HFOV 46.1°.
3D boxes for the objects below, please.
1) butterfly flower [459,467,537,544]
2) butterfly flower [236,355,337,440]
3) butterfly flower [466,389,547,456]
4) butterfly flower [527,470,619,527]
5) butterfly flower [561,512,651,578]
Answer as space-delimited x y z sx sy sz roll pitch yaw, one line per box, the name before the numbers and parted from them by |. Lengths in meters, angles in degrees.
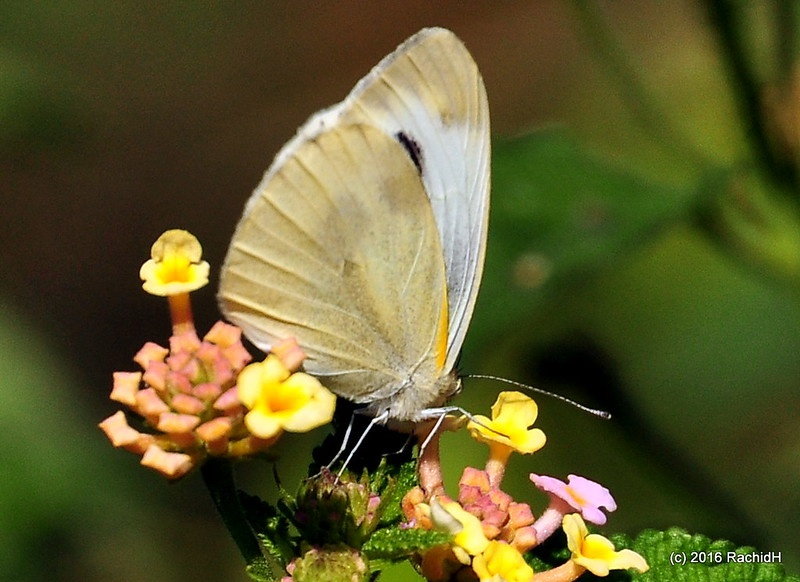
butterfly flower | 0.413 0.950 4.067 0.322 0.292 0.293 -4 14 -2
butterfly flower | -0.472 0.450 3.883 0.395 0.306 0.265 -6 14 -12
butterfly flower | 0.486 0.615 4.338 0.366 0.318 0.297 -6 14 -10
butterfly flower | 0.755 0.926 4.124 0.373 0.122 0.349 -7 22 -37
butterfly flower | 0.849 1.047 3.977 0.288 0.124 0.303 30 13 -18
